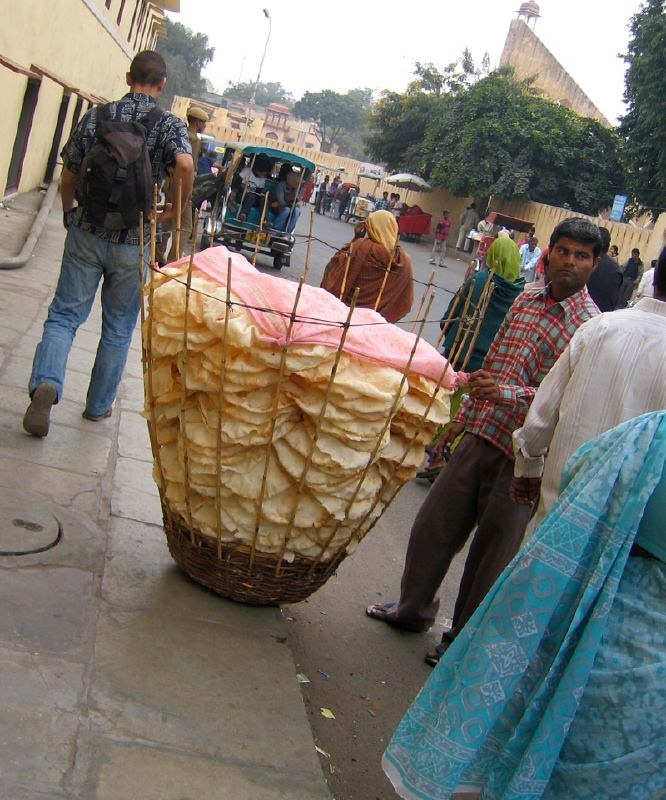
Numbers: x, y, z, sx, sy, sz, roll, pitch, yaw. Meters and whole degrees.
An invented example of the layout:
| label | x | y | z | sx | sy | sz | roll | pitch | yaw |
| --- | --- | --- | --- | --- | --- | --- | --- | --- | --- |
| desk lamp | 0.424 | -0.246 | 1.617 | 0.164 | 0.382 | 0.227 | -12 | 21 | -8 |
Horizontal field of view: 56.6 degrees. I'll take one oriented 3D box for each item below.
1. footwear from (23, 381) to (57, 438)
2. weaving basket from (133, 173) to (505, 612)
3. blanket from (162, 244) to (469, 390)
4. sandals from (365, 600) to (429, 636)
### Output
| label | x | y | z | sx | sy | sz | roll | pitch | yaw |
| --- | --- | --- | --- | --- | --- | --- | --- | --- | --- |
| footwear | -1.302 | 0.053 | 2.837 | 0.117 | 0.282 | 0.123 | 17 | 9 | -20 |
| weaving basket | -0.265 | 0.019 | 2.307 | 1.125 | 1.094 | 1.167 | 26 | 3 | -16 |
| blanket | -0.021 | -0.249 | 1.886 | 0.757 | 0.212 | 0.510 | 19 | 5 | -38 |
| sandals | 0.257 | 0.922 | 2.671 | 0.298 | 0.096 | 0.110 | 15 | 12 | 6 |
